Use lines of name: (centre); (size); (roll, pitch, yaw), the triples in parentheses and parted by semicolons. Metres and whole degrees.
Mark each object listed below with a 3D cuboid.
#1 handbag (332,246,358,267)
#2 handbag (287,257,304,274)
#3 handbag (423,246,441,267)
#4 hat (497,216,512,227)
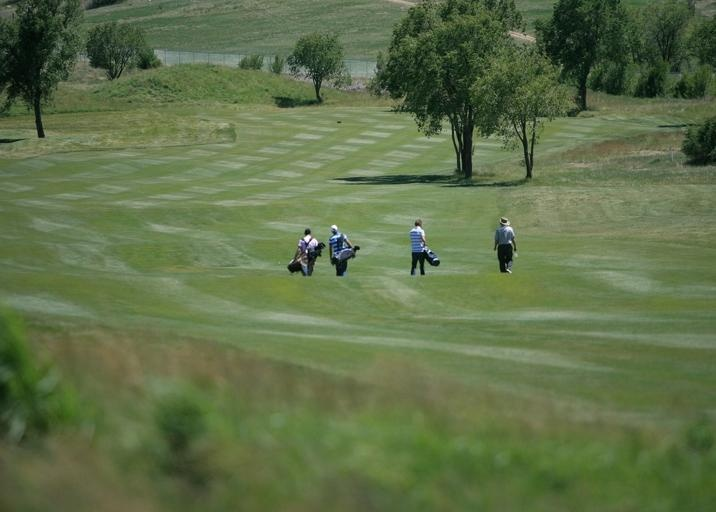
handbag: (-0.402, 0.064, 26.942); (0.798, 0.320, 0.596); (-30, 24, 5)
handbag: (-2.302, 0.336, 26.717); (0.465, 0.661, 0.258); (9, -4, -28)
handbag: (2.681, 0.062, 27.349); (0.502, 0.865, 1.299); (0, 10, 5)
hat: (6.528, -1.536, 33.154); (0.827, 0.314, 0.955); (9, 11, -1)
